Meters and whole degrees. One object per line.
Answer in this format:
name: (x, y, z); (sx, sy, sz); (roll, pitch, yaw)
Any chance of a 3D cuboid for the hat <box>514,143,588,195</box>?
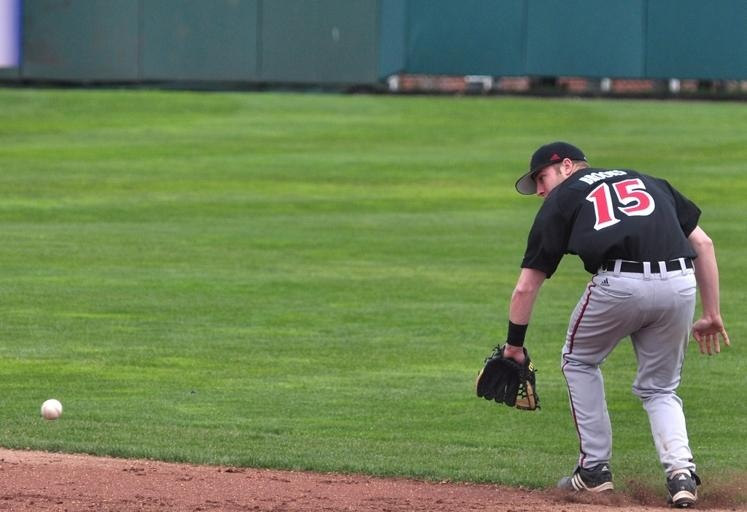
hat: (2.269, -1.187, 29.027); (0.892, 0.407, 0.627); (-18, 1, 15)
